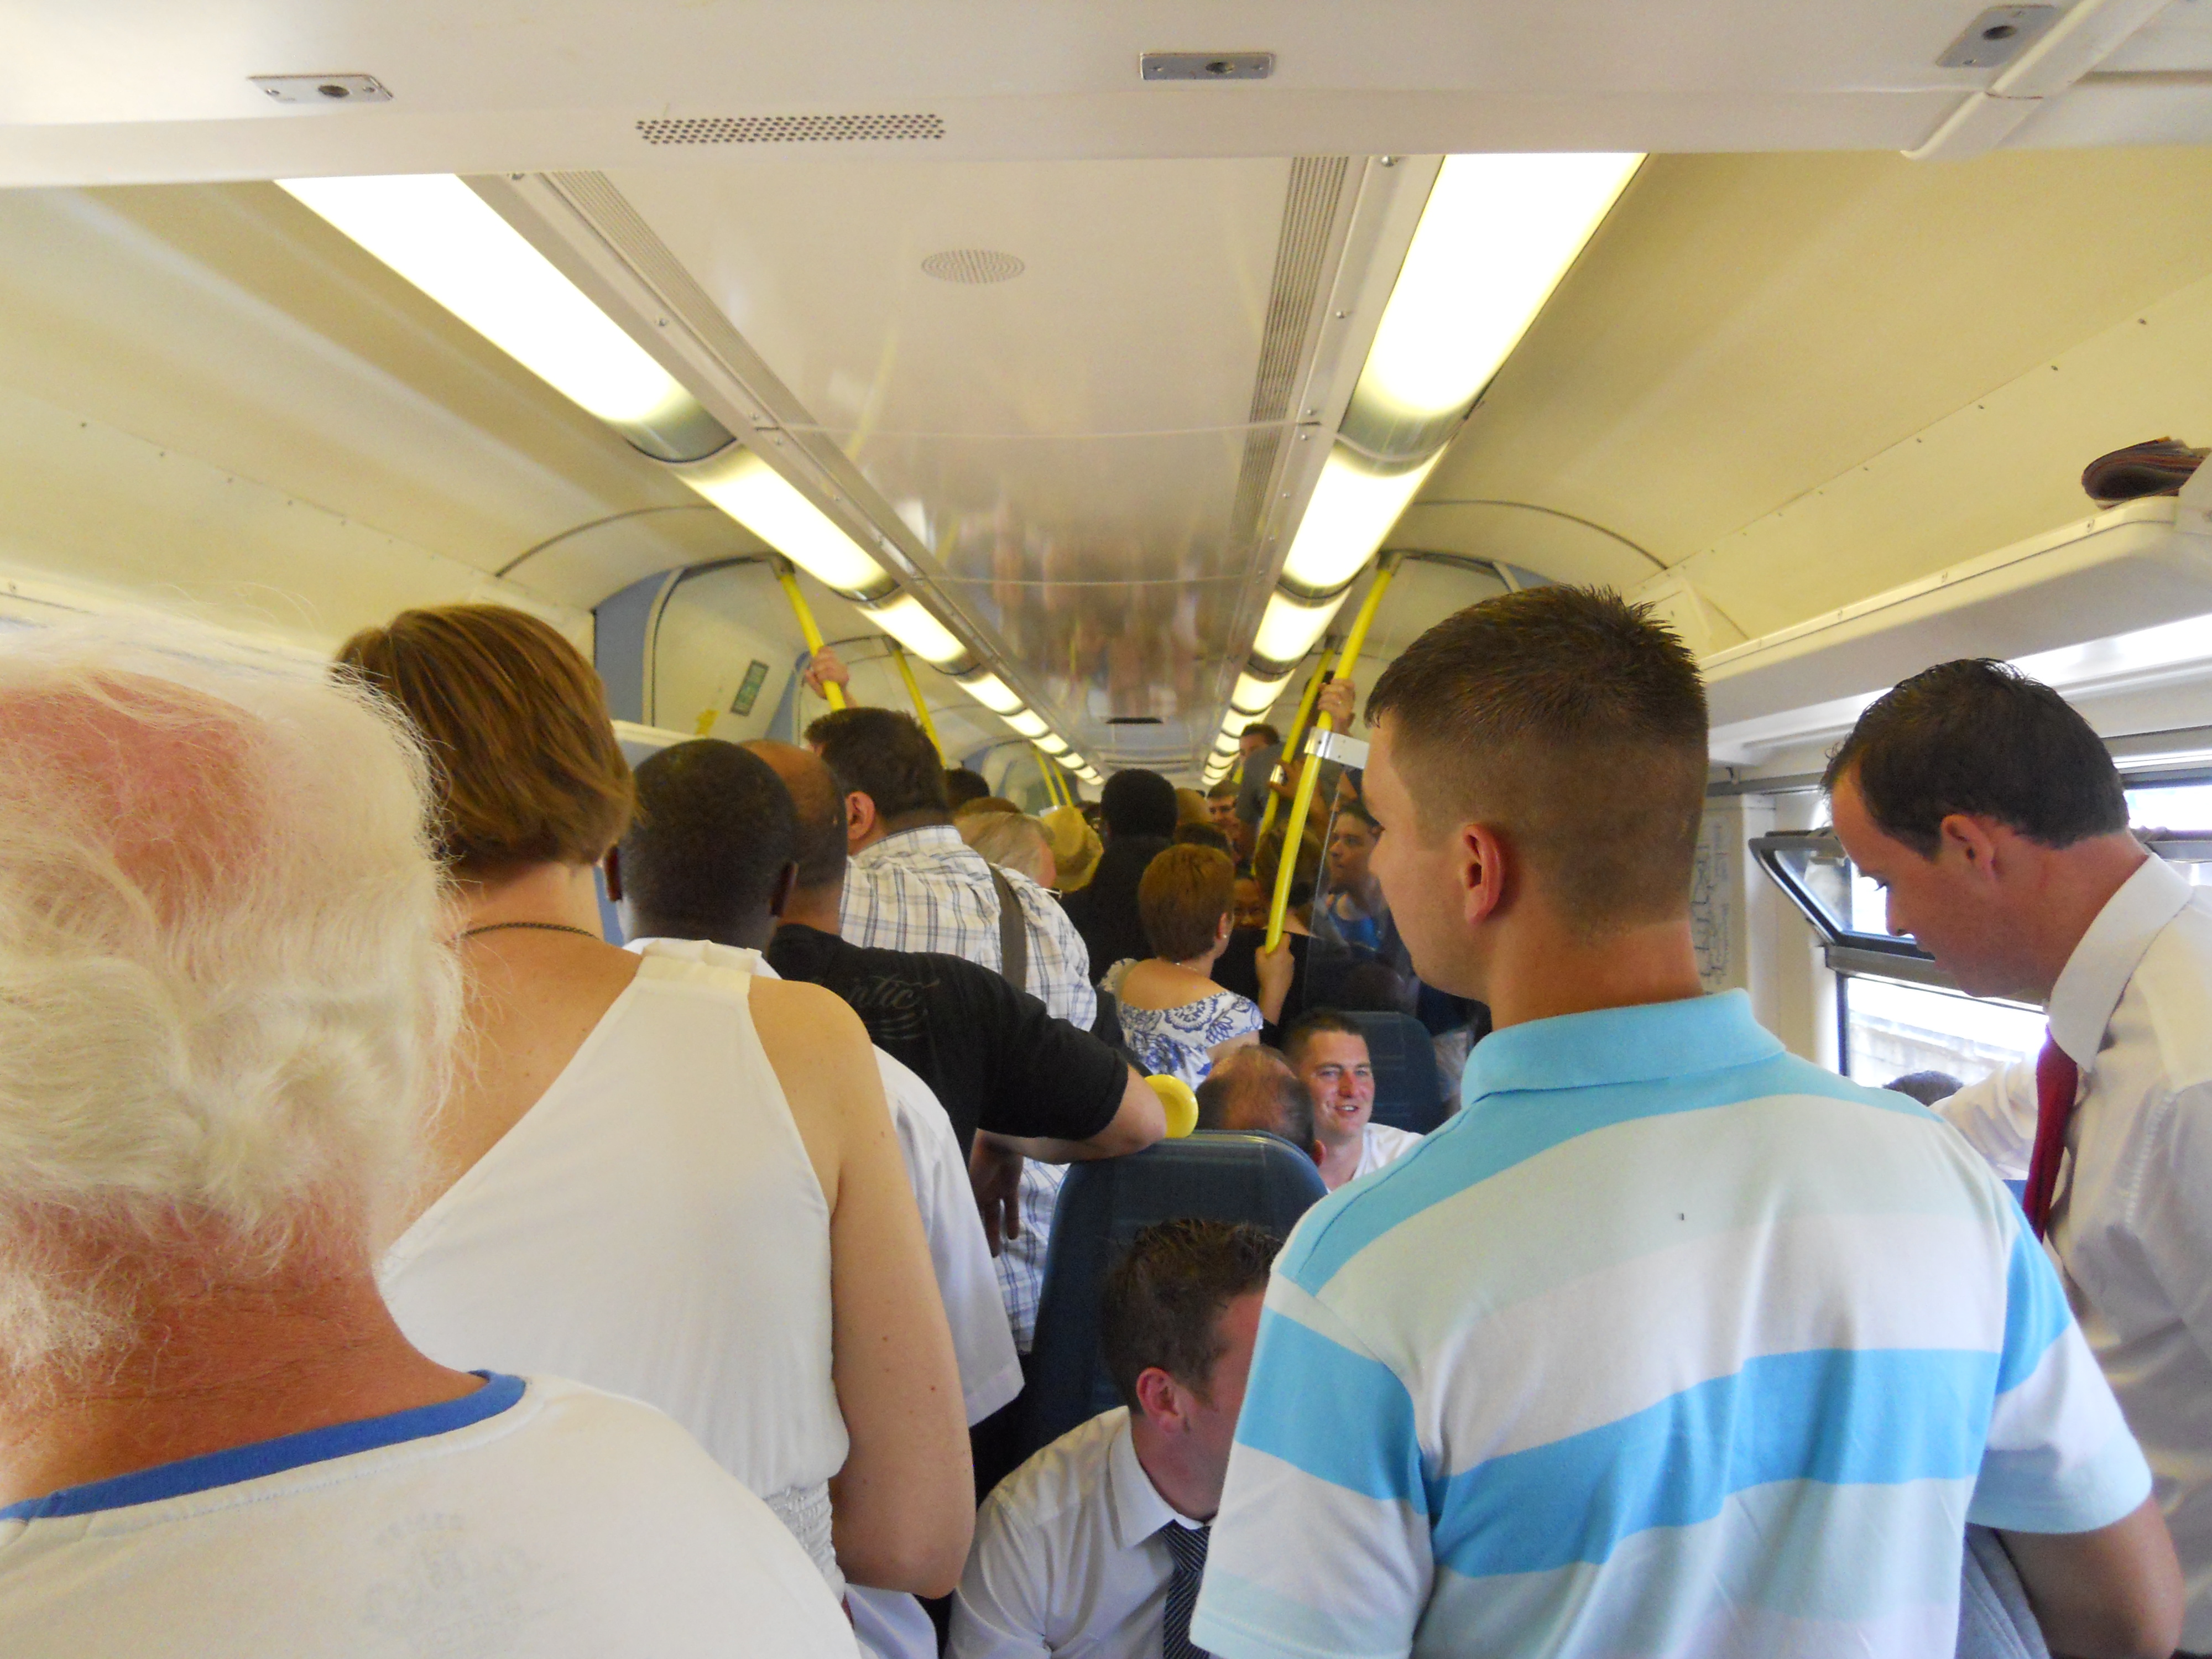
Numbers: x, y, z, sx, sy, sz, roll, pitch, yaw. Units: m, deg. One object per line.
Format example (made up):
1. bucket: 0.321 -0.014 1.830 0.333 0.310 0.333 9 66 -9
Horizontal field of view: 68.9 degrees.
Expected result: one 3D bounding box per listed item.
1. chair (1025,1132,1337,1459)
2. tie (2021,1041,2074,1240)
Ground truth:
1. chair: 0.127 0.810 3.596 0.673 0.904 0.769 0 29 -6
2. tie: 1.632 0.537 2.755 0.074 0.393 0.045 -14 19 2
